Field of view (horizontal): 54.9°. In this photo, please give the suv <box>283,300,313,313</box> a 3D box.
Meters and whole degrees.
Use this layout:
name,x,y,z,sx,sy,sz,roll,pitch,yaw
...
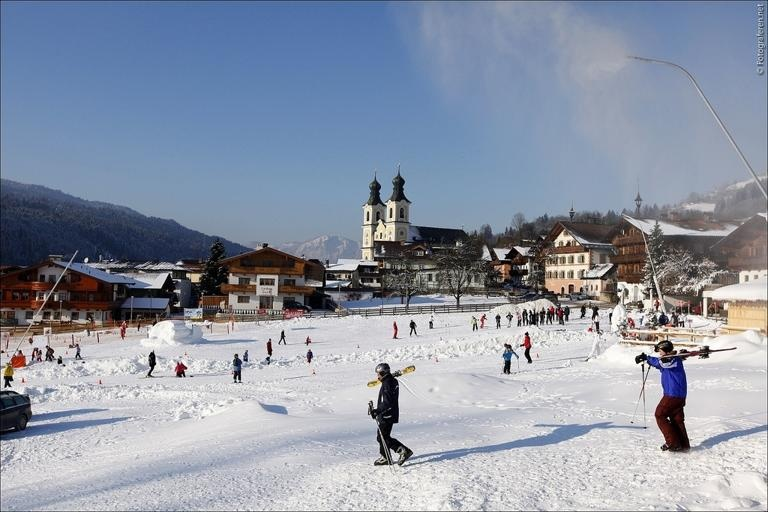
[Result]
name,x,y,z,sx,sy,sz,roll,pitch,yaw
suv,-9.707,5.648,83.021,3.173,1.327,1.497,-1,0,1

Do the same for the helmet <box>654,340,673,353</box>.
name,x,y,z,sx,sy,sz,roll,pitch,yaw
helmet,10.208,3.287,26.907,0.564,0.452,0.422,24,9,35

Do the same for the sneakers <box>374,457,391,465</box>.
name,x,y,z,sx,sy,sz,roll,pitch,yaw
sneakers,-0.064,7.432,26.774,0.436,0.278,0.247,5,-5,24

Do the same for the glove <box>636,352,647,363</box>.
name,x,y,z,sx,sy,sz,roll,pitch,yaw
glove,9.540,3.824,27.440,0.375,0.195,0.535,5,32,31

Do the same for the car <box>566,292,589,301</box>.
name,x,y,z,sx,sy,sz,roll,pitch,yaw
car,24.469,5.157,93.873,1.043,0.800,2.140,1,-6,-37
